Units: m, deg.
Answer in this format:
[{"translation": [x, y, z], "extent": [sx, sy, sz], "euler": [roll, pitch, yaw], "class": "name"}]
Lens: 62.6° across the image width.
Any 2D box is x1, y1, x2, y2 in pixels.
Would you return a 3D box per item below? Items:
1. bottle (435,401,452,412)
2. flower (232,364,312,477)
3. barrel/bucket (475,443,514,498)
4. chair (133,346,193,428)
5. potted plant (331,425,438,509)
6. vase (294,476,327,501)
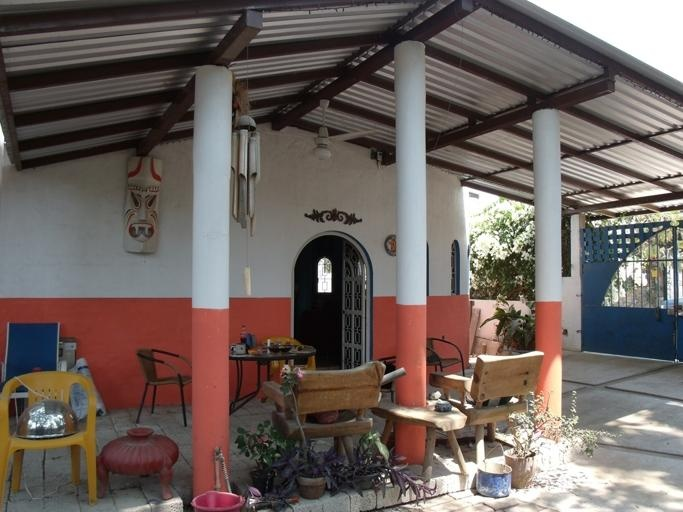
[{"translation": [1.098, 1.615, 6.025], "extent": [0.175, 0.104, 0.121], "euler": [-2, -5, 4], "class": "bottle"}, {"translation": [-0.761, 1.655, 5.701], "extent": [0.612, 1.111, 1.023], "euler": [0, -5, -19], "class": "flower"}, {"translation": [1.606, 2.305, 5.934], "extent": [0.337, 0.362, 0.317], "euler": [0, 1, 0], "class": "barrel/bucket"}, {"translation": [-2.405, 1.849, 7.890], "extent": [0.879, 1.261, 1.000], "euler": [-1, -3, 6], "class": "chair"}, {"translation": [0.396, 2.145, 5.626], "extent": [0.853, 0.756, 0.731], "euler": [6, -2, -28], "class": "potted plant"}, {"translation": [-0.288, 2.199, 5.388], "extent": [0.211, 0.137, 0.217], "euler": [-4, -7, 30], "class": "vase"}]
